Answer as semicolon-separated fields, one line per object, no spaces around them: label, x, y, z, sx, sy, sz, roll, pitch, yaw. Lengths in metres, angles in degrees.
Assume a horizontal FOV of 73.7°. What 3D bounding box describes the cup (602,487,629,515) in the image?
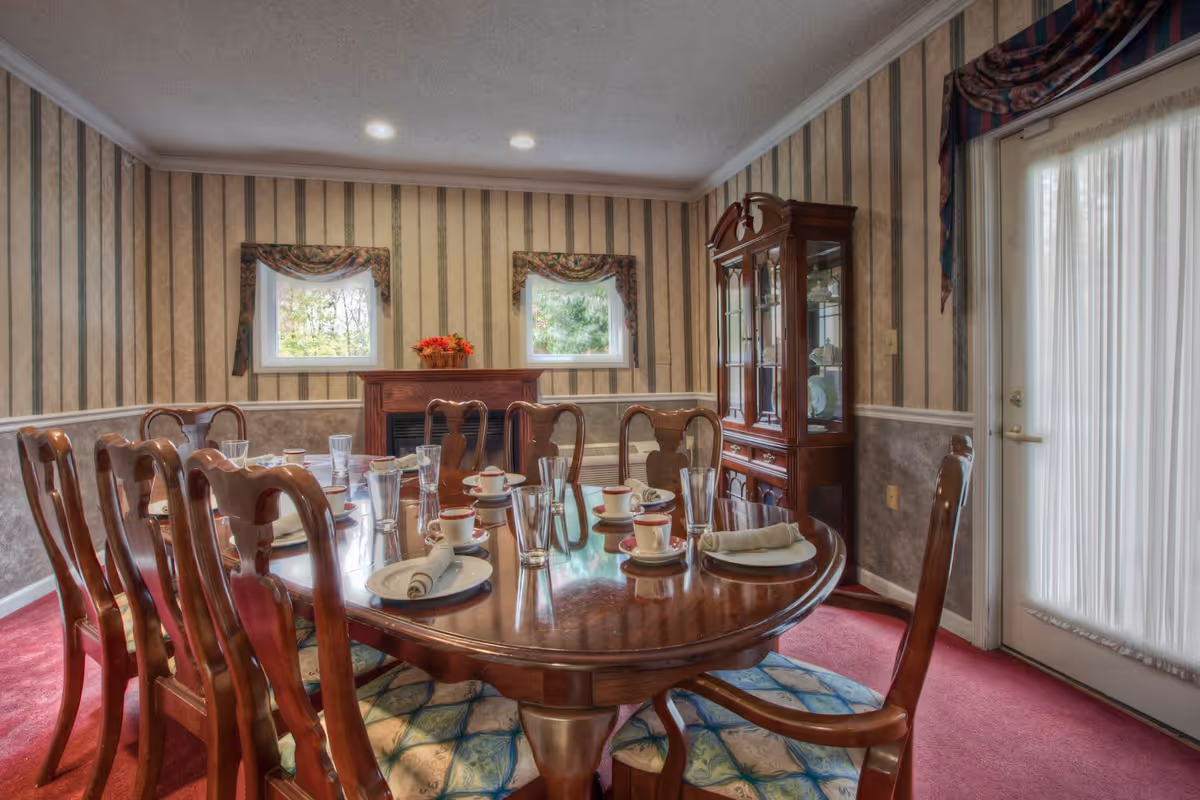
cup;0.064;0.397;3.235;0.099;0.086;0.085;0;-6;4

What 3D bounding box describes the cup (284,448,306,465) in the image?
cup;-1.498;0.270;3.904;0.090;0.084;0.108;-1;-4;16

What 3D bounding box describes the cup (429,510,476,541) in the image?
cup;-0.547;0.458;3.028;0.120;0.095;0.102;-3;1;-10

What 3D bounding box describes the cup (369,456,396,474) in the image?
cup;-0.927;0.270;3.383;0.104;0.048;0.074;-4;-3;11

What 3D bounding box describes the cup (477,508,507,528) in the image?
cup;-0.450;0.483;3.357;0.075;0.079;0.080;0;-1;0

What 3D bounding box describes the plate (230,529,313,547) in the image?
plate;-1.117;0.461;2.693;0.145;0.022;0.149;7;6;43

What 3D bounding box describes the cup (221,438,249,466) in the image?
cup;-1.610;0.224;3.509;0.099;0.117;0.103;1;3;0

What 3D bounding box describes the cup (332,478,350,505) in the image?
cup;-1.103;0.376;3.338;0.089;0.091;0.101;0;-8;7

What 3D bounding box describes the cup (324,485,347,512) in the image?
cup;-1.068;0.405;3.290;0.123;0.113;0.131;-1;-8;0

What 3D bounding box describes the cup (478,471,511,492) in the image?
cup;-0.489;0.358;3.584;0.099;0.078;0.085;2;-5;2

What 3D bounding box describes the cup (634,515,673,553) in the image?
cup;0.193;0.470;2.898;0.103;0.112;0.137;1;6;7

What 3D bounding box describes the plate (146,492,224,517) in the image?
plate;-1.439;0.356;2.757;0.161;0.037;0.171;1;-3;14
